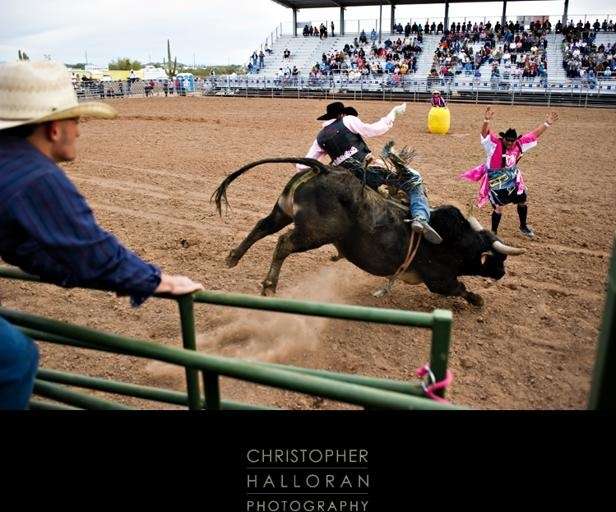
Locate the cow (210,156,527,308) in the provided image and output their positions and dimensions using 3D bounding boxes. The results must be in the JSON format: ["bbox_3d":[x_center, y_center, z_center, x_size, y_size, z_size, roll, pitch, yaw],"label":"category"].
[{"bbox_3d":[0.599,-0.179,5.312,2.559,1.655,0.857,-6,11,-2],"label":"cow"}]
